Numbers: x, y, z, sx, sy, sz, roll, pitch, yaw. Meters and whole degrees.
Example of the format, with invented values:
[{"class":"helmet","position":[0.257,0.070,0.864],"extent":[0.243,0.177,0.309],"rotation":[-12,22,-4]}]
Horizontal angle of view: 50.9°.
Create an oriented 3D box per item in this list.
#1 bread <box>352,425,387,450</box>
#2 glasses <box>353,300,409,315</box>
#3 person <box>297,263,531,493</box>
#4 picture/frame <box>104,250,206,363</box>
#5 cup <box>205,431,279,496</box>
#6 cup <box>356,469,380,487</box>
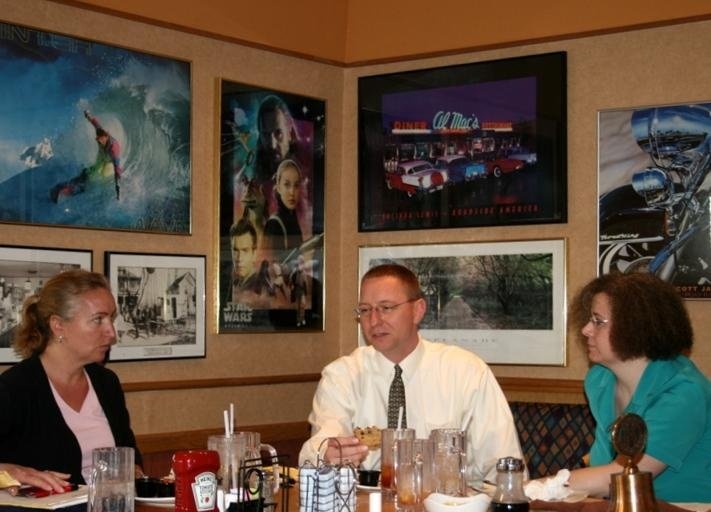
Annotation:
[{"class":"bread","position":[0.086,0.939,3.871],"extent":[0.175,0.192,0.044],"rotation":[-7,7,19]},{"class":"glasses","position":[0.159,0.286,4.167],"extent":[0.311,0.079,0.105],"rotation":[-2,-4,3]},{"class":"person","position":[0.265,0.678,4.324],"extent":[1.199,1.528,1.135],"rotation":[-2,-6,12]},{"class":"picture/frame","position":[-1.397,0.348,5.089],"extent":[0.709,0.809,0.038],"rotation":[4,-7,-35]},{"class":"cup","position":[-0.485,0.929,3.447],"extent":[0.357,0.387,0.212],"rotation":[-2,-4,31]},{"class":"cup","position":[0.061,1.064,3.600],"extent":[0.078,0.062,0.083],"rotation":[0,-15,0]}]
